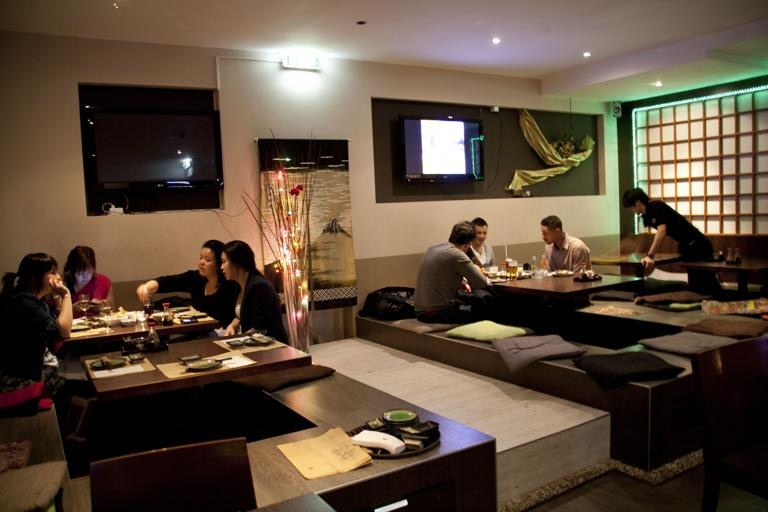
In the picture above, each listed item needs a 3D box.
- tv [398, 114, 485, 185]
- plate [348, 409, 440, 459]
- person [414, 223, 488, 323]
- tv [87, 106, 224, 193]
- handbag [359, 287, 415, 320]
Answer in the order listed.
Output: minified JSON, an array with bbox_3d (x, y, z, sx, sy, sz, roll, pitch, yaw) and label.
[{"bbox_3d":[0.741,-1.483,7.189,1.026,0.685,0.105,-5,10,-26],"label":"tv"},{"bbox_3d":[0.109,0.975,2.845,0.276,0.066,0.277,-7,12,-30],"label":"plate"},{"bbox_3d":[0.745,0.389,5.841,0.836,1.456,0.760,-3,10,-12],"label":"person"},{"bbox_3d":[-2.567,-1.168,5.672,0.994,0.626,0.098,-4,9,-24],"label":"tv"},{"bbox_3d":[0.045,0.580,6.312,0.530,0.193,0.378,-2,2,-12],"label":"handbag"}]
